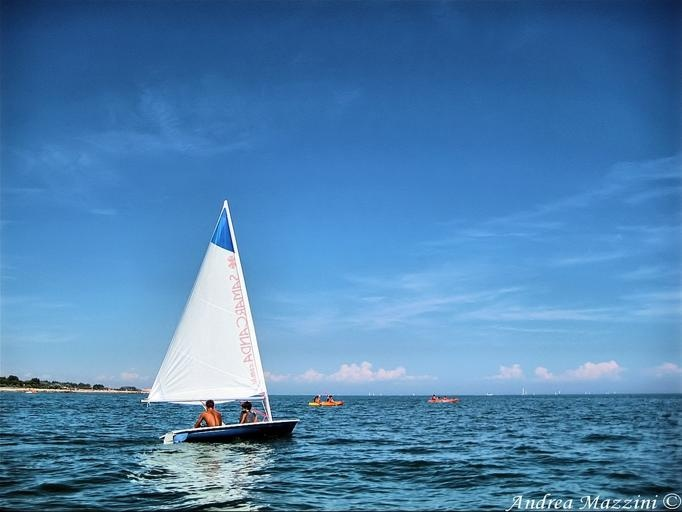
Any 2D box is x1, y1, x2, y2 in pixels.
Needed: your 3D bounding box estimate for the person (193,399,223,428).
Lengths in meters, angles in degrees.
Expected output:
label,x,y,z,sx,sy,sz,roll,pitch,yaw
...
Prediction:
label,x,y,z,sx,sy,sz,roll,pitch,yaw
person,-6.723,8.111,33.695,1.186,1.307,3.436,1,-12,-10
